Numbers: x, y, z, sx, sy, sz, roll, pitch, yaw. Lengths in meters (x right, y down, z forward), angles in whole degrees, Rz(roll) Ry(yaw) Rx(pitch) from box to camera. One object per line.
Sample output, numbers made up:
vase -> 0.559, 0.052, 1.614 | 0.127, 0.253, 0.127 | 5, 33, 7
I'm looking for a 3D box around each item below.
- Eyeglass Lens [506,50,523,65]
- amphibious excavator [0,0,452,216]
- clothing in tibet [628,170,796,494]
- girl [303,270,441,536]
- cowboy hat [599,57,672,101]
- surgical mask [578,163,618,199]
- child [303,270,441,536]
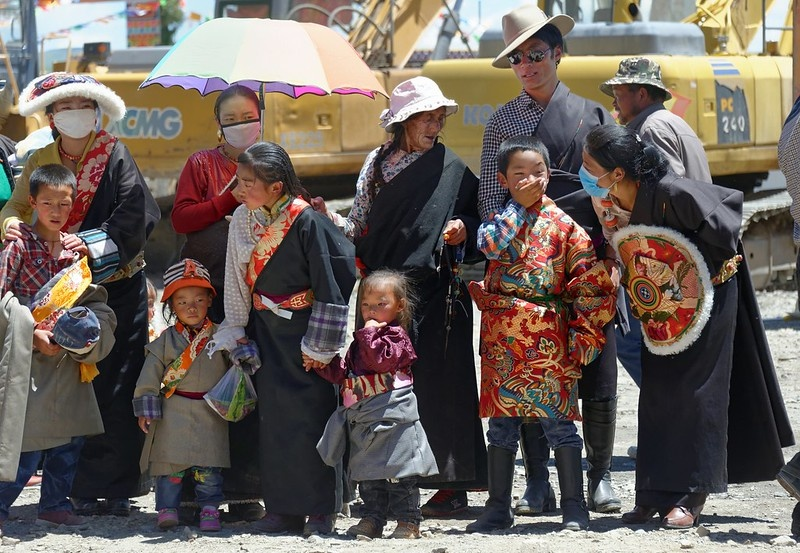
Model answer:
Eyeglass Lens -> 0.728, -1.354, 7.477 | 0.083, 0.081, 0.035 | -8, -37, 15
amphibious excavator -> -2.639, -2.322, 15.415 | 6.909, 3.300, 1.923 | -2, 6, -8
clothing in tibet -> 1.755, 0.343, 6.937 | 0.975, 1.815, 0.486 | 1, 12, 8
girl -> -0.129, 0.746, 6.964 | 0.684, 1.511, 0.529 | 0, 11, 3
cowboy hat -> 1.626, -1.379, 8.189 | 0.440, 0.210, 0.372 | -3, 9, 24
surgical mask -> 1.159, -0.550, 6.977 | 0.200, 0.114, 0.167 | 3, 14, 4
child -> -0.130, 0.747, 6.962 | 0.684, 1.511, 0.523 | 0, 11, 2
